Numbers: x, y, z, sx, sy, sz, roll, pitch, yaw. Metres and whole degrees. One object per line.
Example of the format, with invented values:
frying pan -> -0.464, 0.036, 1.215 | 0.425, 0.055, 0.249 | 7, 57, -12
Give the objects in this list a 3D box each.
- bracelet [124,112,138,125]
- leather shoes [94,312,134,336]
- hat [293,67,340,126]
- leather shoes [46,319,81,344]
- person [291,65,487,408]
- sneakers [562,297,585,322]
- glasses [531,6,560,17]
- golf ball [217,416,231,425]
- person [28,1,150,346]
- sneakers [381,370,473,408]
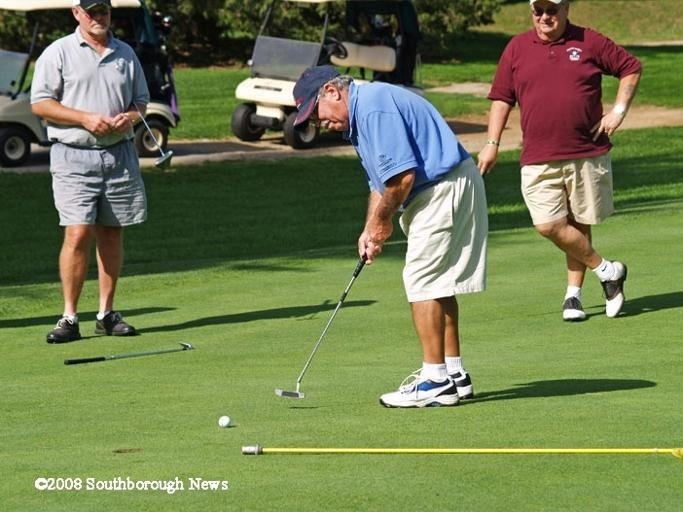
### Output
bracelet -> -1.470, -0.941, 9.336 | 0.094, 0.076, 0.068 | 5, 9, 14
leather shoes -> -1.595, 0.480, 9.295 | 0.307, 0.128, 0.129 | 0, -2, 34
hat -> -0.159, -0.899, 7.609 | 0.287, 0.325, 0.254 | -6, 9, -17
leather shoes -> -1.918, 0.505, 9.134 | 0.174, 0.150, 0.264 | -1, 9, 13
person -> 0.342, -0.111, 7.638 | 0.975, 1.933, 0.344 | -3, 9, 4
sneakers -> 1.585, 0.356, 9.120 | 0.158, 0.151, 0.197 | -2, 9, 10
glasses -> 1.368, -1.624, 8.975 | 0.201, 0.091, 0.100 | 0, 10, 22
golf ball -> -0.651, 0.888, 7.363 | 0.072, 0.053, 0.131 | -4, 9, -6
person -> -1.720, -0.599, 9.273 | 0.828, 2.275, 0.594 | -6, 9, -15
sneakers -> 0.516, 0.760, 7.755 | 0.573, 0.238, 0.207 | 0, -4, -5
